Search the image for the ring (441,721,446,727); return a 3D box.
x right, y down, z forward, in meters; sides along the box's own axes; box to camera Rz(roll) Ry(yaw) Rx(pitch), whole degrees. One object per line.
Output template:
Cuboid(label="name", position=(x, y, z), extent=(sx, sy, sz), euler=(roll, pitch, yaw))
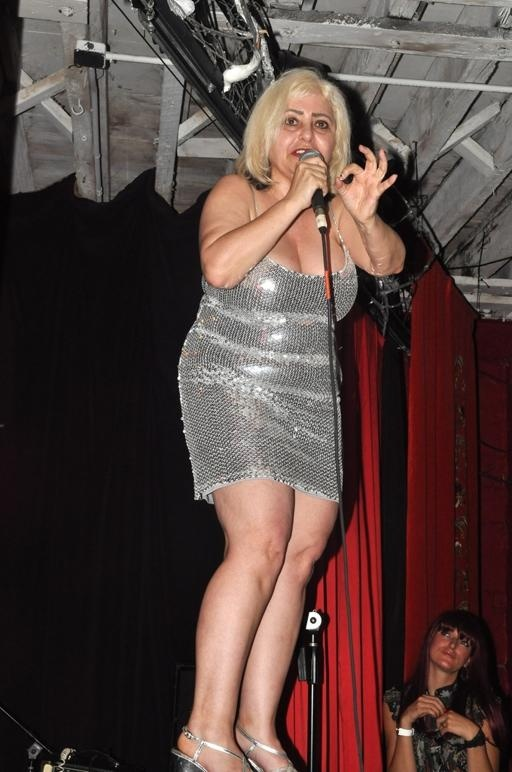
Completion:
Cuboid(label="ring", position=(0.699, 1.255, 2.477), extent=(0.008, 0.020, 0.020), euler=(-1, -4, 0))

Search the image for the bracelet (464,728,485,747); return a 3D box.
Cuboid(label="bracelet", position=(0.795, 1.288, 2.461), extent=(0.076, 0.061, 0.056), euler=(-9, 54, -2))
